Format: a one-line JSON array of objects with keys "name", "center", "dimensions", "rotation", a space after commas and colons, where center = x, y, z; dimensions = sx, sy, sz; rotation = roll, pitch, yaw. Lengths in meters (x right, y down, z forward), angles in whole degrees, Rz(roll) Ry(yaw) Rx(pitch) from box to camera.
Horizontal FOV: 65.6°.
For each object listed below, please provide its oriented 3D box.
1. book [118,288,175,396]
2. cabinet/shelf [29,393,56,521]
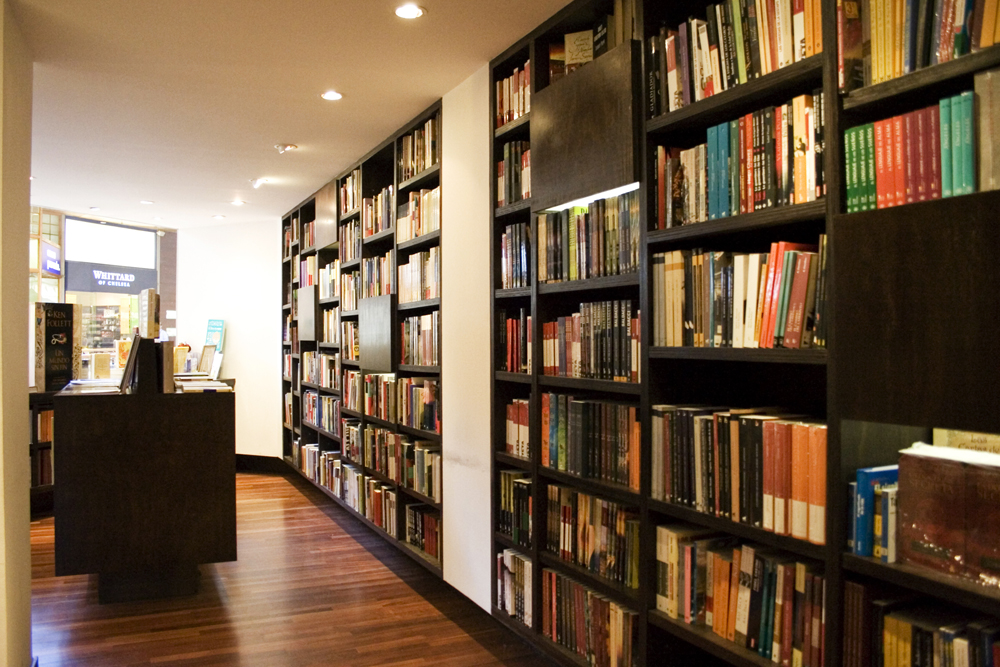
[{"name": "book", "center": [-2.872, 0.059, 6.246], "dimensions": [0.330, 0.829, 0.853], "rotation": [2, -6, -30]}, {"name": "cabinet/shelf", "center": [-4.011, 1.054, 6.812], "dimensions": [0.184, 1.120, 0.278], "rotation": [-3, 5, -32]}]
